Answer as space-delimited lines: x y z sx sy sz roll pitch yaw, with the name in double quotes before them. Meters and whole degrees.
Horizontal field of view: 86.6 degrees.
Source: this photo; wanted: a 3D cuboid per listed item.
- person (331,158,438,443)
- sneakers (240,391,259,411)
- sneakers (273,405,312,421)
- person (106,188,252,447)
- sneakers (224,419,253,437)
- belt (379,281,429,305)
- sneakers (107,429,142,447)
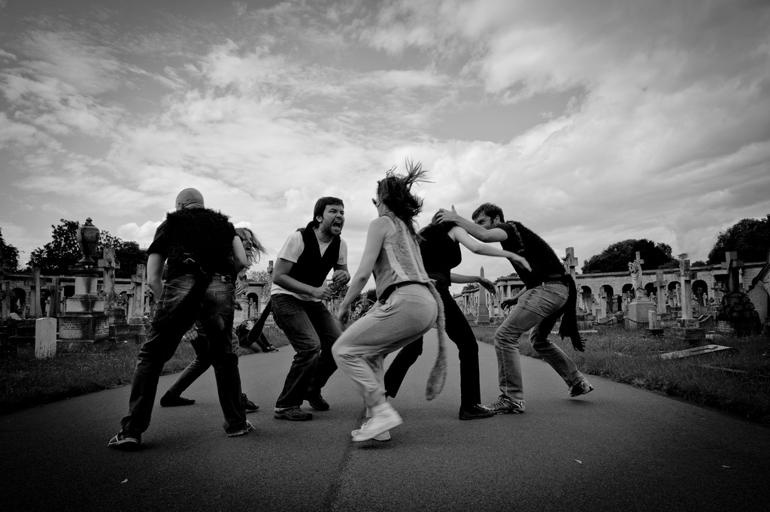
"person" 0.054 0.436 4.395 1.230 2.941 0.497 -1 -8 -10
"sneakers" -1.890 1.980 5.595 0.184 0.194 0.480 2 -3 -43
"sneakers" -1.133 1.960 5.067 0.437 0.189 0.190 0 -9 4
"person" -2.070 0.667 4.375 1.211 2.496 0.341 2 -8 -26
"sneakers" -1.531 1.850 4.411 0.125 0.129 0.323 3 -2 38
"belt" 0.172 0.384 4.182 0.324 0.285 0.071 -8 20 -4
"sneakers" -2.518 1.775 3.929 0.365 0.134 0.156 -1 37 8
